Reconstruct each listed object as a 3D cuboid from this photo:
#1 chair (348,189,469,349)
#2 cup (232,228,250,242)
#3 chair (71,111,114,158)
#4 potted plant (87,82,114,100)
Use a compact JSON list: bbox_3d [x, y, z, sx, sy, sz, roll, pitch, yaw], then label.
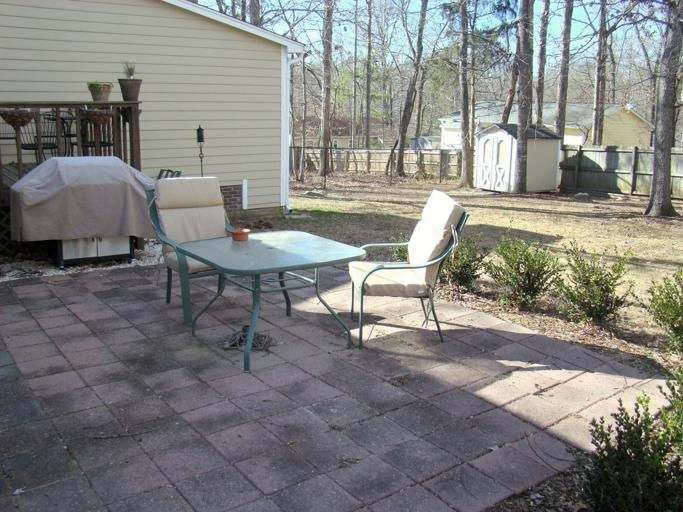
[{"bbox_3d":[0.625,-0.058,5.100,1.016,1.172,0.949,-1,13,-11],"label":"chair"},{"bbox_3d":[-1.057,-0.220,5.147,0.170,0.078,0.167,3,11,-1],"label":"cup"},{"bbox_3d":[-4.462,-2.225,8.916,0.659,0.803,1.500,-5,14,-26],"label":"chair"},{"bbox_3d":[-4.156,-2.836,8.600,0.337,0.337,0.416,-4,14,-24],"label":"potted plant"}]
